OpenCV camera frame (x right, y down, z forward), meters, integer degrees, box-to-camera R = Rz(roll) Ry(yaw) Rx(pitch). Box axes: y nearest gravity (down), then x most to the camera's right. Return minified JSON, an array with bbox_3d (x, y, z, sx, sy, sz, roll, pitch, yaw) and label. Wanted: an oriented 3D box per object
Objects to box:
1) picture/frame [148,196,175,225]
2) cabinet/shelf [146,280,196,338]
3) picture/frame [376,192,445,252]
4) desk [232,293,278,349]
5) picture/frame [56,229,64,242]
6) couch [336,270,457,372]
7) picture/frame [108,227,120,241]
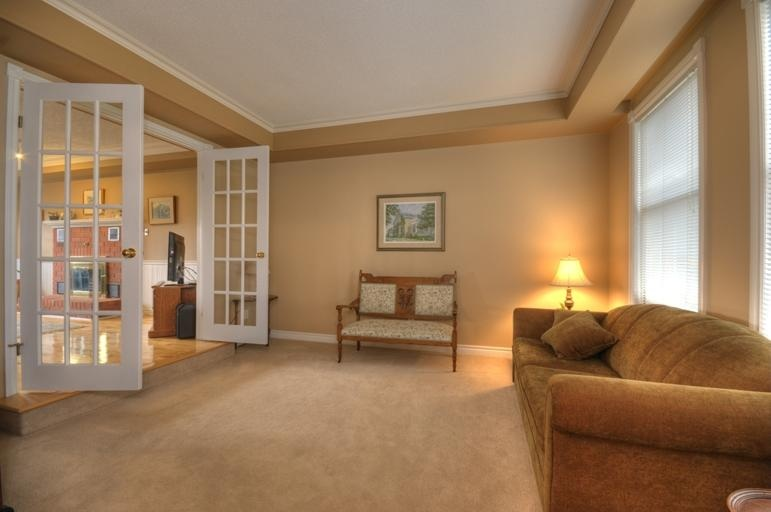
[{"bbox_3d":[-3.588,-0.740,8.552,0.498,0.443,0.047,2,4,12],"label":"picture/frame"},{"bbox_3d":[-2.939,0.653,7.229,0.675,0.729,0.828,1,0,-12],"label":"cabinet/shelf"},{"bbox_3d":[0.368,-0.458,7.081,0.878,0.668,0.055,0,-4,15],"label":"picture/frame"},{"bbox_3d":[-1.761,0.837,7.233,0.446,0.745,0.953,0,7,-1],"label":"desk"},{"bbox_3d":[-3.189,-0.205,5.207,0.129,0.137,0.053,4,9,31],"label":"picture/frame"},{"bbox_3d":[0.181,0.795,6.704,1.450,1.007,0.631,1,11,14],"label":"couch"},{"bbox_3d":[-3.158,-0.255,6.176,0.017,0.181,0.199,2,1,26],"label":"picture/frame"}]
